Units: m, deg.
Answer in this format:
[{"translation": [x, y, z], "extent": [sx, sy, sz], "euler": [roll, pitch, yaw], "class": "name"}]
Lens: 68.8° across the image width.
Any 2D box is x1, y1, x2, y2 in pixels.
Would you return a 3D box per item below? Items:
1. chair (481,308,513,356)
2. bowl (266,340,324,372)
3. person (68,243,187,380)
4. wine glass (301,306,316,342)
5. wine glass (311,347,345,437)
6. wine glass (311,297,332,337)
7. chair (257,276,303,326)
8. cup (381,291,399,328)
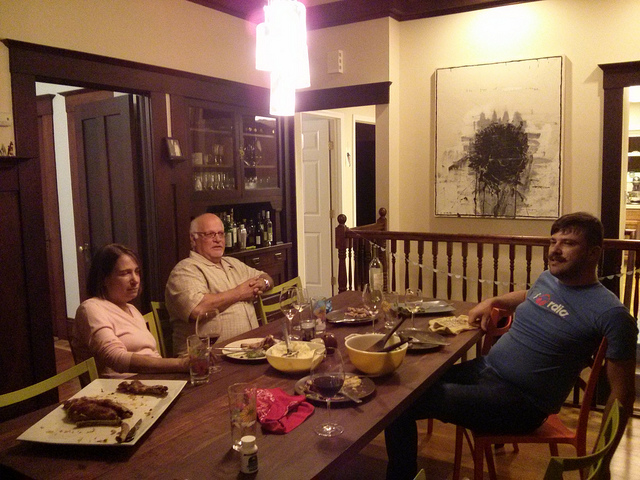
[{"translation": [1.047, 0.548, 2.798], "extent": [0.178, 0.280, 0.177], "euler": [12, -10, -13], "class": "chair"}, {"translation": [-0.100, 0.549, 2.143], "extent": [0.193, 0.089, 0.231], "euler": [-4, 3, -43], "class": "bowl"}, {"translation": [-0.902, 0.391, 2.579], "extent": [0.771, 0.845, 0.553], "euler": [-1, -5, 2], "class": "person"}, {"translation": [-0.064, 0.451, 2.471], "extent": [0.083, 0.144, 0.083], "euler": [-7, -2, 44], "class": "wine glass"}, {"translation": [0.022, 0.535, 1.771], "extent": [0.116, 0.285, 0.281], "euler": [-3, 9, -2], "class": "wine glass"}, {"translation": [-0.005, 0.411, 2.583], "extent": [0.154, 0.256, 0.158], "euler": [0, -6, 0], "class": "wine glass"}, {"translation": [-0.290, 0.477, 3.311], "extent": [0.305, 0.320, 0.891], "euler": [-3, 9, -4], "class": "chair"}, {"translation": [0.384, 0.395, 2.614], "extent": [0.117, 0.196, 0.120], "euler": [2, -12, 0], "class": "cup"}]
